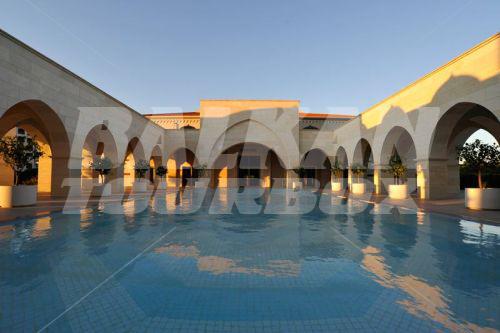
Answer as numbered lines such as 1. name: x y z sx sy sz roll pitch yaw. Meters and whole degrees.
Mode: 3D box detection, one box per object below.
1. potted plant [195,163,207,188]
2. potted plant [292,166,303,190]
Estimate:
1. potted plant: -5.957 1.077 30.733 1.330 2.943 2.548 1 0 -2
2. potted plant: 5.804 1.264 30.756 1.118 2.705 2.553 0 0 8
